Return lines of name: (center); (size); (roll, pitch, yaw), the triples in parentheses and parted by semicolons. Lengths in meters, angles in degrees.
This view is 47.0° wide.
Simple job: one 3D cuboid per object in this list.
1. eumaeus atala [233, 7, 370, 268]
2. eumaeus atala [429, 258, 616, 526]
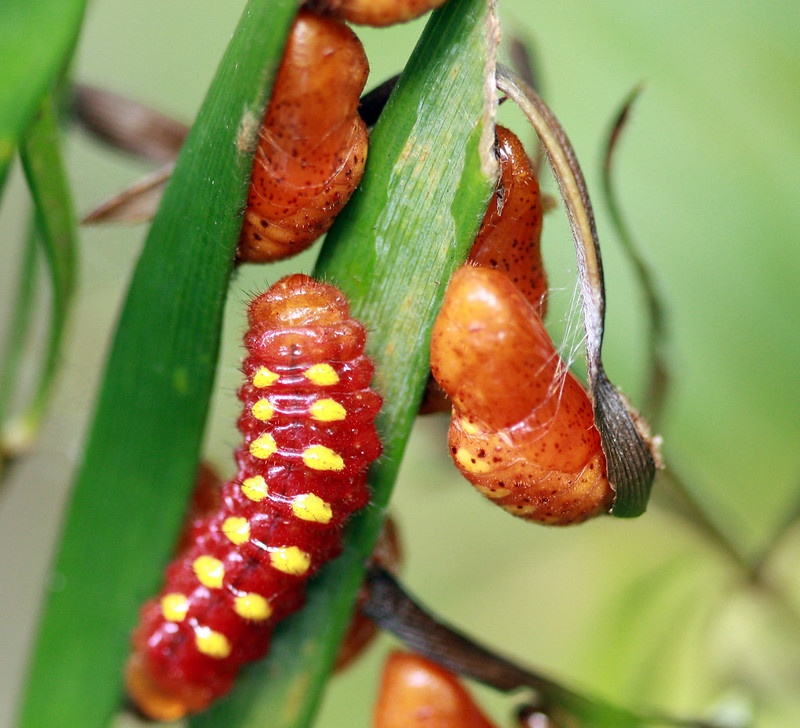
eumaeus atala: (-0.061, -0.128, 0.521); (0.067, 0.122, 0.042); (15, 24, -19)
eumaeus atala: (0.075, 0.026, 0.525); (0.084, 0.157, 0.054); (-8, 25, 27)
